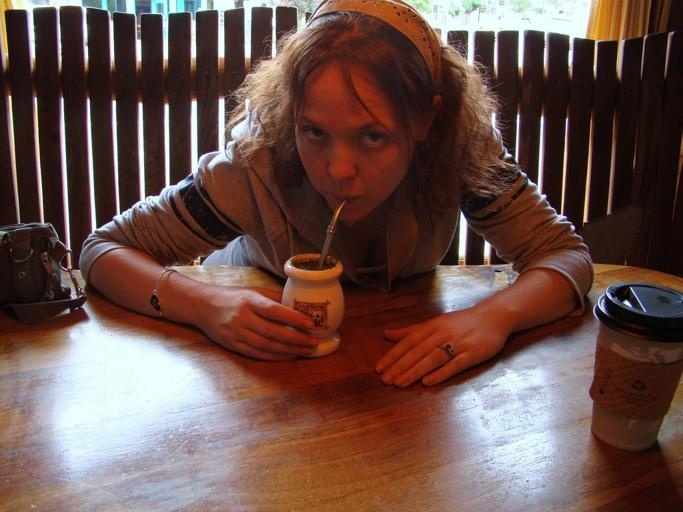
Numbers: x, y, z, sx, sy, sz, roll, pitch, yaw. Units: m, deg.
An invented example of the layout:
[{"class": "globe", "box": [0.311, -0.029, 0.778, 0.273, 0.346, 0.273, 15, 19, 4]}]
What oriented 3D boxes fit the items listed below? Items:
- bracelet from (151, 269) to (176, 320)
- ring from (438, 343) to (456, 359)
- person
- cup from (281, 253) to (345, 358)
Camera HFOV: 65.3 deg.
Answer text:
[{"class": "bracelet", "box": [-0.402, 0.086, 1.231, 0.022, 0.084, 0.062, 8, -5, -14]}, {"class": "ring", "box": [0.206, 0.187, 1.048, 0.021, 0.016, 0.027, 11, 45, -39]}, {"class": "person", "box": [0.003, -0.143, 1.542, 0.888, 0.557, 1.026, 2, 0, 1]}, {"class": "cup", "box": [-0.046, 0.095, 1.153, 0.171, 0.230, 0.170, 2, 17, -1]}]
